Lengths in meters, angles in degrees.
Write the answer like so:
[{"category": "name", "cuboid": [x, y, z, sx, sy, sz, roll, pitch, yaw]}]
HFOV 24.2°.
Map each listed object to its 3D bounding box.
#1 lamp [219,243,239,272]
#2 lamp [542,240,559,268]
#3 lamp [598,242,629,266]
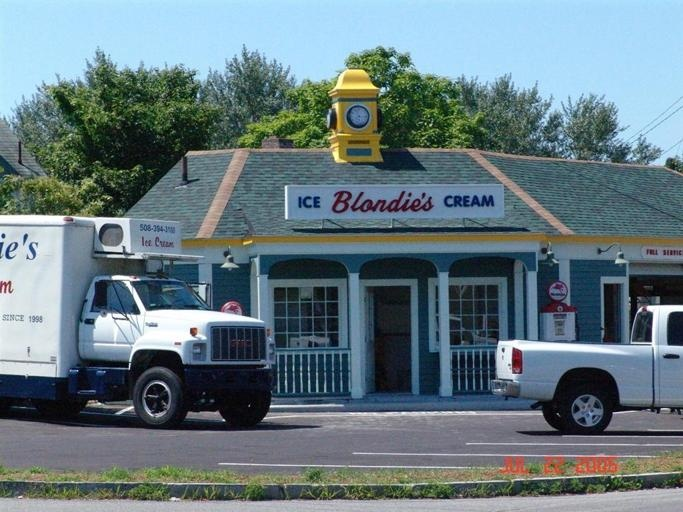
[{"category": "lamp", "cuboid": [-3.028, 0.110, 42.391, 0.584, 0.640, 0.574, -1, -8, 0]}, {"category": "lamp", "cuboid": [5.698, 0.034, 43.426, 0.469, 0.714, 0.605, -1, -4, -15]}, {"category": "lamp", "cuboid": [7.601, 0.002, 44.157, 0.477, 0.641, 0.967, 4, -7, -43]}]
